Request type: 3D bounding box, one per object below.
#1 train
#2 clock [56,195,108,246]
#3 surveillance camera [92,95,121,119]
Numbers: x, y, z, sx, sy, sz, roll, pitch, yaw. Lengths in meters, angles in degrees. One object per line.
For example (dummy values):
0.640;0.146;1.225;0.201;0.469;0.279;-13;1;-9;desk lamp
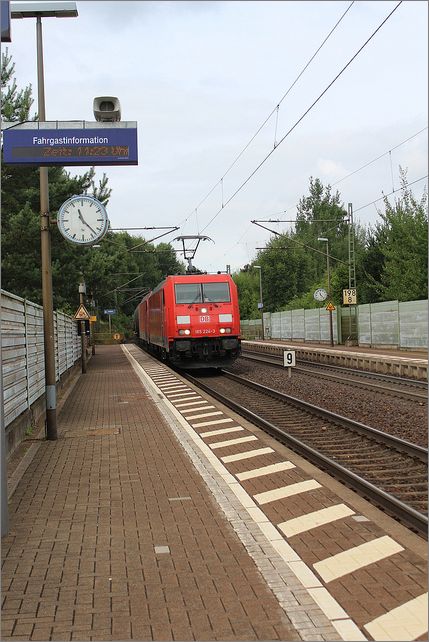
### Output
-1.755;0.079;21.974;2.580;3.941;6.627;2;-6;-28;train
-2.391;-1.838;8.941;0.827;0.852;0.830;-2;-7;-17;clock
-1.601;-3.147;7.329;0.373;0.428;0.262;0;-5;-6;surveillance camera
